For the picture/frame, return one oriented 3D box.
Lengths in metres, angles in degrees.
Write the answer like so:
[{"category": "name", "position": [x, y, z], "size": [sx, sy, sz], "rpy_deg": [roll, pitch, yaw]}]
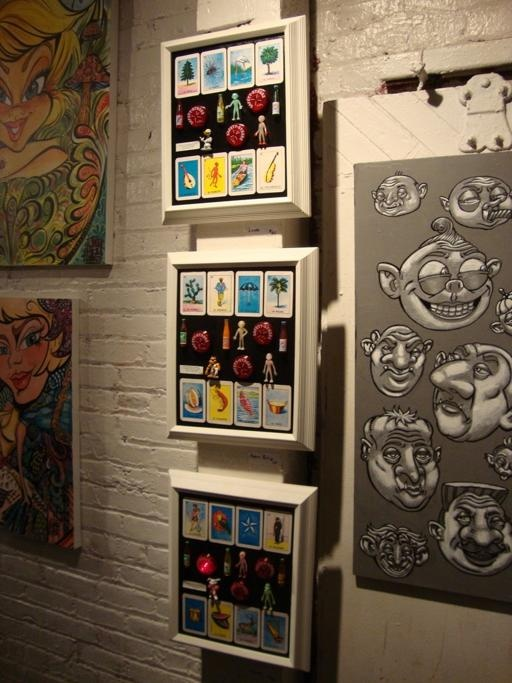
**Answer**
[{"category": "picture/frame", "position": [-0.048, 0.011, 1.403], "size": [0.389, 1.436, 0.165], "rpy_deg": [2, -2, 21]}]
